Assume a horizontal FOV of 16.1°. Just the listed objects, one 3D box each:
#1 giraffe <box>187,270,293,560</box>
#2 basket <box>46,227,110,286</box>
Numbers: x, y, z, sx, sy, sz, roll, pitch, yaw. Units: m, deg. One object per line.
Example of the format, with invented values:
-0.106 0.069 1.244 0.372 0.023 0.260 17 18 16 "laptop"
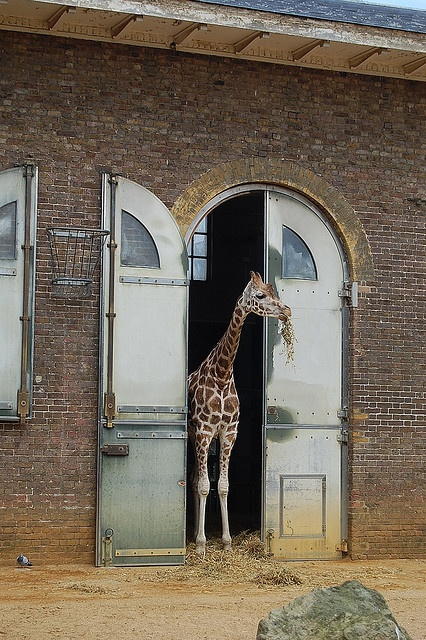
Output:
0.125 0.846 13.916 1.154 2.466 0.799 -2 -1 27 "giraffe"
-1.257 -0.569 13.427 0.489 0.529 0.457 5 -17 -21 "basket"
